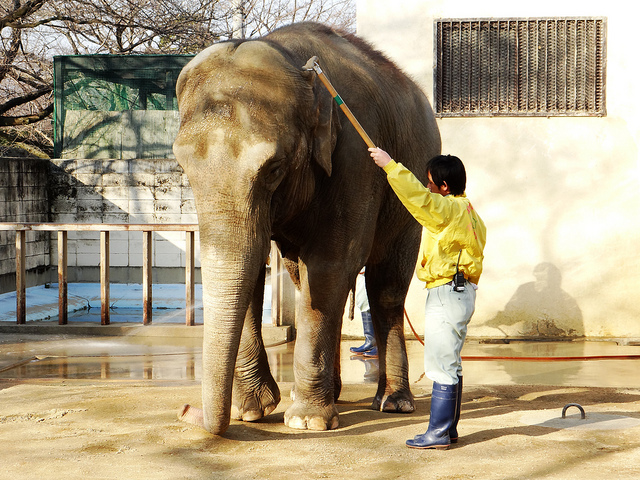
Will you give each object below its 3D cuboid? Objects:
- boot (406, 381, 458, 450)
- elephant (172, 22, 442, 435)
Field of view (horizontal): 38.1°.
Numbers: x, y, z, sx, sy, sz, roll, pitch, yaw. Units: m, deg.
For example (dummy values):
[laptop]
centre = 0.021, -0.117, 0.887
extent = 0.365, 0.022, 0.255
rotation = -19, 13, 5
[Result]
[boot]
centre = 0.825, 1.284, 6.804
extent = 0.361, 0.505, 0.146
rotation = 2, 7, 6
[elephant]
centre = -0.143, -0.139, 8.112
extent = 1.610, 3.246, 3.957
rotation = 3, 1, 21
